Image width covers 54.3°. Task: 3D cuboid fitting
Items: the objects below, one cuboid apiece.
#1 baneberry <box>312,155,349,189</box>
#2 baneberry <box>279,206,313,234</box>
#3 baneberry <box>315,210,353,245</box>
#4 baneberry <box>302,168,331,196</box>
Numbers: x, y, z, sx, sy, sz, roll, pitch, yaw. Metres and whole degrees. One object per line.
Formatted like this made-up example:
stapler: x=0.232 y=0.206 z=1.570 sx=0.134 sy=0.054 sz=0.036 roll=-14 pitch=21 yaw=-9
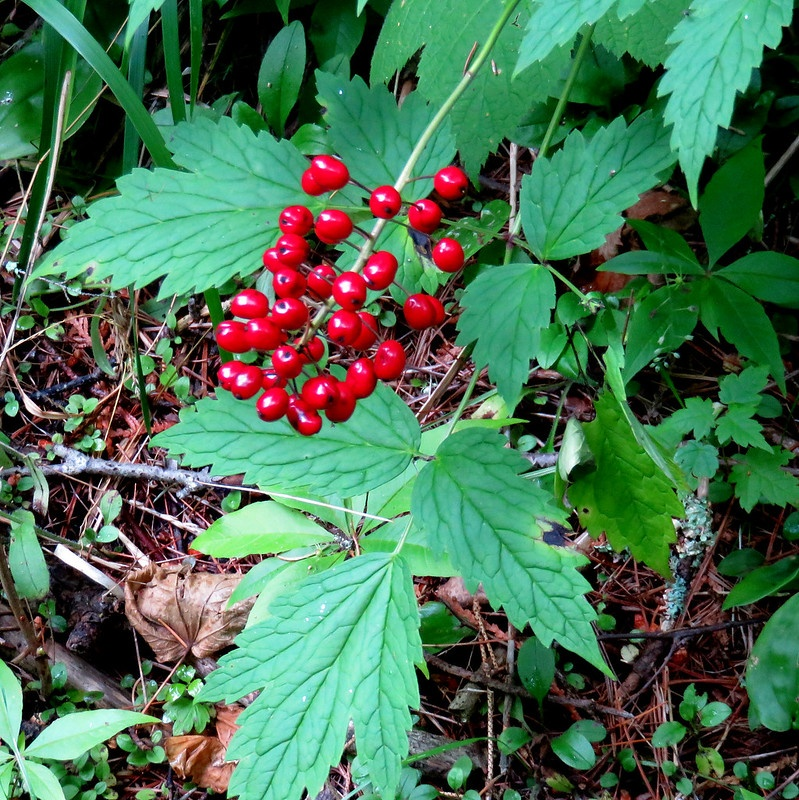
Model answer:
baneberry: x=-0.168 y=-0.541 z=1.869 sx=0.083 sy=0.078 sz=0.075 roll=-3 pitch=52 yaw=-24
baneberry: x=-0.243 y=-0.421 z=1.842 sx=0.076 sy=0.043 sz=0.070 roll=9 pitch=78 yaw=-4
baneberry: x=-0.148 y=-0.408 z=1.883 sx=0.080 sy=0.078 sz=0.093 roll=10 pitch=0 yaw=23
baneberry: x=-0.199 y=-0.525 z=1.877 sx=0.048 sy=0.050 sz=0.058 roll=55 pitch=47 yaw=-15
